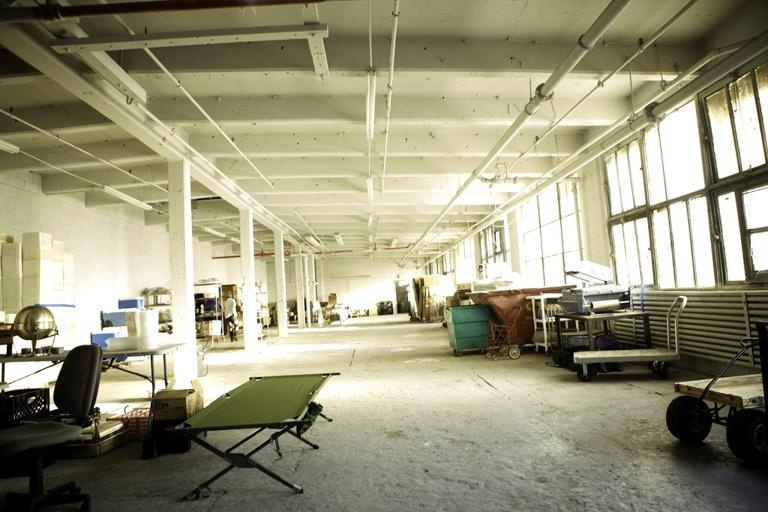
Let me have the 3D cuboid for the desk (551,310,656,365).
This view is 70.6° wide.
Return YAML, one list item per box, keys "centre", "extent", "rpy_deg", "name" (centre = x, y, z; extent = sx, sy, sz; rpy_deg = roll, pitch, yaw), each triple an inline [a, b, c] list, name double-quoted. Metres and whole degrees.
- centre: [3.868, 1.396, 9.732]
  extent: [1.324, 0.846, 1.176]
  rpy_deg: [0, -7, 5]
  name: "desk"

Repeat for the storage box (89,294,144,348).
- centre: [-6.540, 1.548, 13.376]
  extent: [1.220, 0.803, 2.305]
  rpy_deg: [-8, 12, -24]
  name: "storage box"

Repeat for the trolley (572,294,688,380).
- centre: [3.978, 1.334, 8.832]
  extent: [1.684, 1.069, 0.775]
  rpy_deg: [-7, -4, 16]
  name: "trolley"

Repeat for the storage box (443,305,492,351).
- centre: [1.747, 1.474, 11.788]
  extent: [1.307, 1.030, 0.923]
  rpy_deg: [-2, -10, 0]
  name: "storage box"

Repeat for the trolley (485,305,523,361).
- centre: [2.441, 1.578, 11.149]
  extent: [0.758, 0.891, 0.723]
  rpy_deg: [-6, 3, 31]
  name: "trolley"

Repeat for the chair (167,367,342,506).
- centre: [-1.440, 2.039, 6.500]
  extent: [1.373, 0.861, 1.589]
  rpy_deg: [-1, 11, 7]
  name: "chair"
